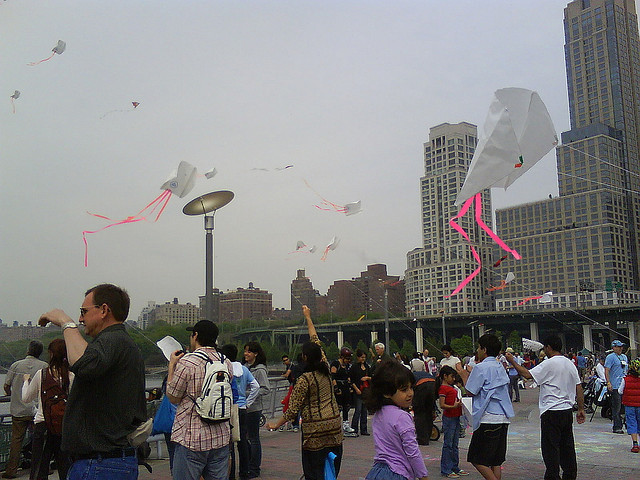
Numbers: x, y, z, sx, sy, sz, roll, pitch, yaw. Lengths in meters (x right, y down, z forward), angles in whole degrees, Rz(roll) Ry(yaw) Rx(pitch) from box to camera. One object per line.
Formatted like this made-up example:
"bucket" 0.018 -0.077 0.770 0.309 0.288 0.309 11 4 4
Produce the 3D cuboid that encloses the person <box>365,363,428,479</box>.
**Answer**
"person" 0.764 1.850 5.967 0.603 1.156 0.263 -3 -11 5

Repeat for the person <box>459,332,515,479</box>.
"person" 2.455 2.404 8.498 0.691 2.030 0.413 -3 -11 9

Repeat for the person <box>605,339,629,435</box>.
"person" 7.135 3.475 13.824 0.681 2.172 0.633 12 -11 -37

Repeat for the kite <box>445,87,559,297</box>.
"kite" 3.126 -0.830 10.797 2.097 3.555 2.025 -1 14 34

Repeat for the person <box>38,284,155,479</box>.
"person" -2.026 1.312 5.439 0.890 1.827 0.469 2 -12 -19

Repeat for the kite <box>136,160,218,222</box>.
"kite" -3.042 -1.070 12.499 0.548 1.250 2.435 12 11 32
